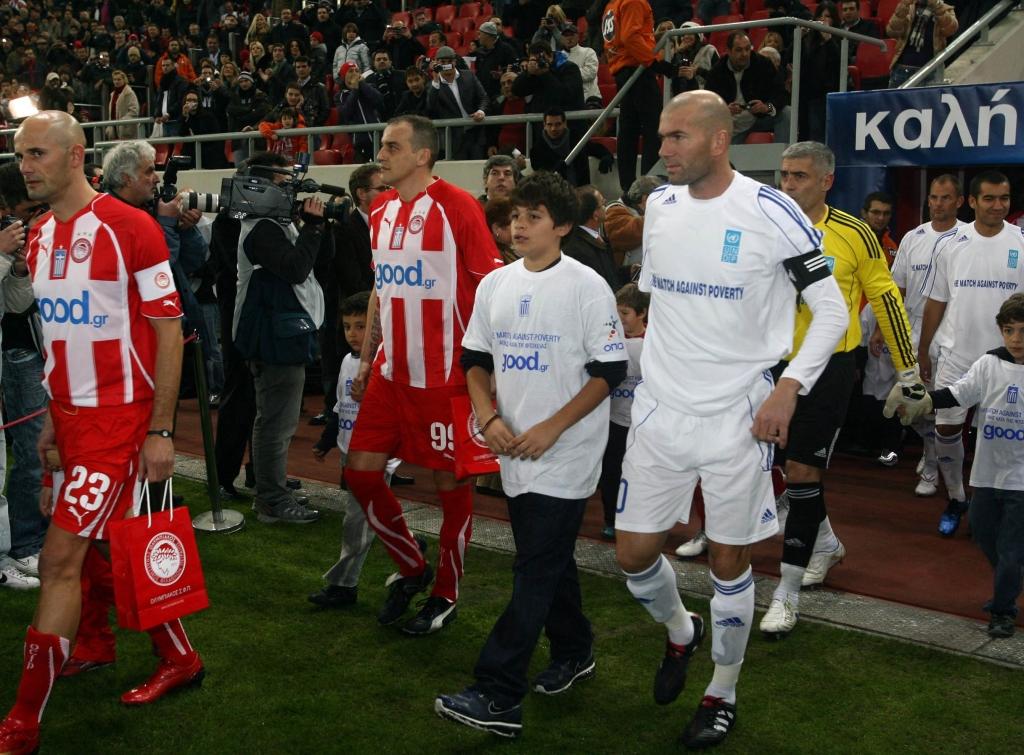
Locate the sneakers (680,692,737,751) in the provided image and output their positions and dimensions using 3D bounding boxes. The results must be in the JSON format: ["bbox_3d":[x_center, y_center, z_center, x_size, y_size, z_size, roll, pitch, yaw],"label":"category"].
[{"bbox_3d":[0.766,1.327,3.436,0.102,0.127,0.286,-5,-5,35],"label":"sneakers"}]

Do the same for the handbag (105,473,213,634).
[{"bbox_3d":[-1.401,0.771,3.531,0.339,0.537,0.208,-5,11,-27],"label":"handbag"}]

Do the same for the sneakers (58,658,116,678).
[{"bbox_3d":[-1.893,1.279,3.971,0.215,0.071,0.057,-7,12,-33],"label":"sneakers"}]

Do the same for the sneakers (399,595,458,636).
[{"bbox_3d":[-0.412,1.175,4.417,0.115,0.129,0.325,0,-1,34],"label":"sneakers"}]

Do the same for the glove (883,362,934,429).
[{"bbox_3d":[2.026,0.096,4.516,0.246,0.314,0.130,20,7,19],"label":"glove"}]

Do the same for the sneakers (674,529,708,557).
[{"bbox_3d":[1.074,0.987,5.348,0.181,0.158,0.232,0,10,-1],"label":"sneakers"}]

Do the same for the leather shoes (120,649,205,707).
[{"bbox_3d":[-1.453,1.260,3.765,0.130,0.166,0.397,8,9,43],"label":"leather shoes"}]

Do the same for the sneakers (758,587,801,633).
[{"bbox_3d":[1.311,1.140,4.338,0.125,0.175,0.246,7,12,34],"label":"sneakers"}]

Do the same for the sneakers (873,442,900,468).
[{"bbox_3d":[3.197,0.664,7.571,0.180,0.172,0.434,-7,-3,32],"label":"sneakers"}]

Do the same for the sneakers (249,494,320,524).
[{"bbox_3d":[-1.511,0.873,5.941,0.447,0.202,0.171,0,3,-14],"label":"sneakers"}]

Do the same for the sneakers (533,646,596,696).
[{"bbox_3d":[0.230,1.285,3.911,0.313,0.137,0.111,-2,3,-41],"label":"sneakers"}]

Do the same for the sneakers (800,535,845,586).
[{"bbox_3d":[1.736,1.021,4.944,0.111,0.223,0.427,8,13,39],"label":"sneakers"}]

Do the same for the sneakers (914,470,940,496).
[{"bbox_3d":[3.111,0.796,6.668,0.137,0.159,0.261,6,12,30],"label":"sneakers"}]

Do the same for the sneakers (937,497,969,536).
[{"bbox_3d":[2.861,0.909,5.805,0.112,0.136,0.347,2,48,50],"label":"sneakers"}]

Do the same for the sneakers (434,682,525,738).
[{"bbox_3d":[-0.108,1.256,3.433,0.373,0.184,0.140,21,-16,-13],"label":"sneakers"}]
